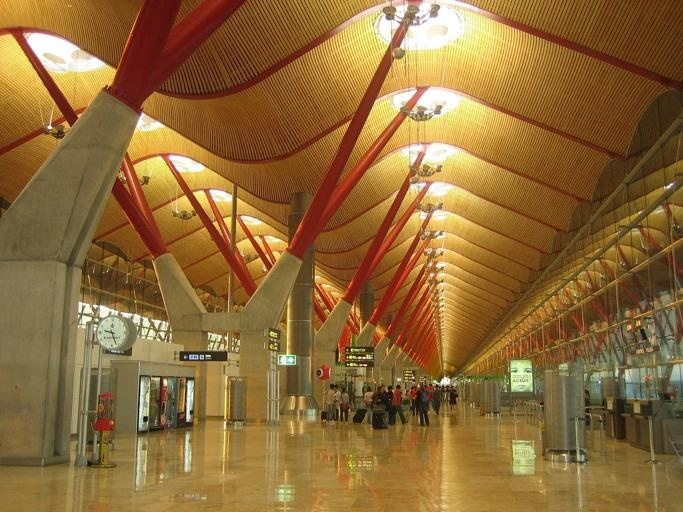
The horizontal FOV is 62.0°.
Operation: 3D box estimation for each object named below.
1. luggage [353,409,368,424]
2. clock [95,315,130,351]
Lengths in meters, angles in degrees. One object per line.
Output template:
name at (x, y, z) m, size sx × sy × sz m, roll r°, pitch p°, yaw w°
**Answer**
luggage at (0.872, 7.882, 28.050) m, size 0.535 × 0.239 × 0.947 m, roll 2°, pitch -3°, yaw 5°
clock at (-5.427, 1.825, 13.517) m, size 0.685 × 0.849 × 0.251 m, roll 0°, pitch -7°, yaw 3°
